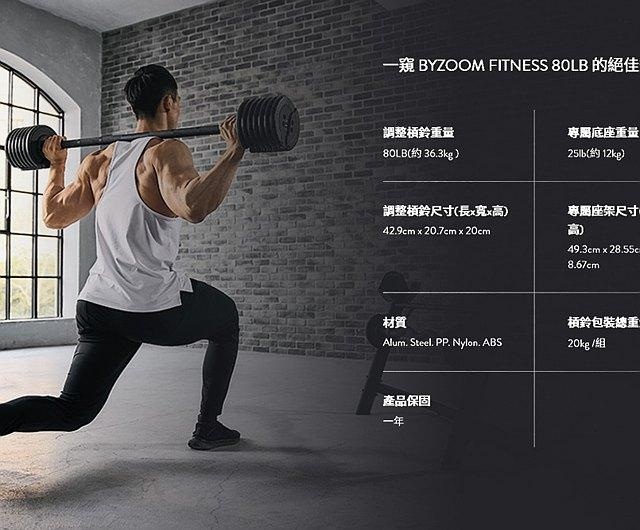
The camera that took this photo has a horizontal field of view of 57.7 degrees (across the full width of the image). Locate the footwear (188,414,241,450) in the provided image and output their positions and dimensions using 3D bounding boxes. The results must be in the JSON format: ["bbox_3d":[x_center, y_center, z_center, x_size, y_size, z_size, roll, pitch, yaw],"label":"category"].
[{"bbox_3d":[-0.506,0.802,2.843,0.110,0.128,0.290,-4,-5,43],"label":"footwear"}]

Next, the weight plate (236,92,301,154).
[{"bbox_3d":[-0.203,-0.548,2.260,0.214,0.205,0.164,-2,-1,16],"label":"weight plate"}]
